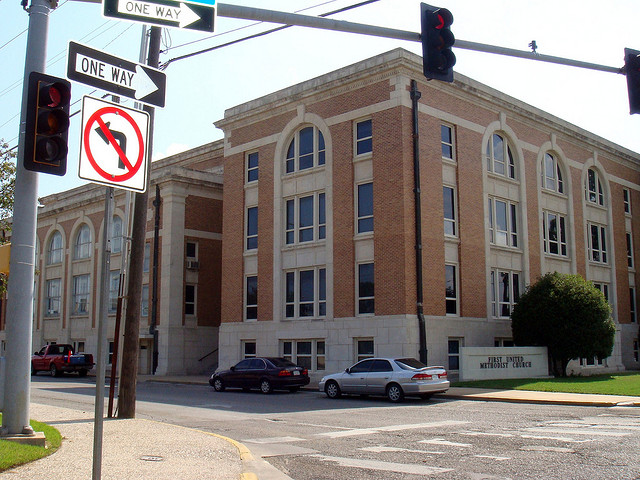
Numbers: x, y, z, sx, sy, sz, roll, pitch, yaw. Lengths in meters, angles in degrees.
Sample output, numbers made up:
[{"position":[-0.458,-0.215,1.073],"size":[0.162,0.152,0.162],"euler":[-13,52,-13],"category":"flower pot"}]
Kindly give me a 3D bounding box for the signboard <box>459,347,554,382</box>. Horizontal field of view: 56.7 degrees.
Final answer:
[{"position":[9.367,6.299,30.050],"size":[5.961,1.764,0.378],"euler":[8,-16,-29],"category":"signboard"}]

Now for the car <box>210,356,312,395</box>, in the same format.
[{"position":[-2.891,6.236,27.911],"size":[4.230,1.430,1.808],"euler":[-5,-12,34],"category":"car"}]

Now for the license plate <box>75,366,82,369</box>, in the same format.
[{"position":[-15.879,8.427,38.861],"size":[0.448,0.167,0.126],"euler":[13,-20,-42],"category":"license plate"}]

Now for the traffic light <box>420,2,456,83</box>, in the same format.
[{"position":[2.220,-3.806,11.133],"size":[0.604,1.503,0.619],"euler":[-3,-14,11],"category":"traffic light"}]

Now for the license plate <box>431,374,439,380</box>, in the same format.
[{"position":[4.311,5.209,22.356],"size":[0.225,0.141,0.023],"euler":[1,-11,-35],"category":"license plate"}]

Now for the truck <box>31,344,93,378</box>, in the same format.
[{"position":[-17.474,8.212,39.908],"size":[3.999,2.178,1.879],"euler":[-11,-18,32],"category":"truck"}]

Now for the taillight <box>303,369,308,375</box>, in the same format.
[{"position":[-0.700,6.227,27.707],"size":[0.232,0.179,0.394],"euler":[4,-27,-12],"category":"taillight"}]
